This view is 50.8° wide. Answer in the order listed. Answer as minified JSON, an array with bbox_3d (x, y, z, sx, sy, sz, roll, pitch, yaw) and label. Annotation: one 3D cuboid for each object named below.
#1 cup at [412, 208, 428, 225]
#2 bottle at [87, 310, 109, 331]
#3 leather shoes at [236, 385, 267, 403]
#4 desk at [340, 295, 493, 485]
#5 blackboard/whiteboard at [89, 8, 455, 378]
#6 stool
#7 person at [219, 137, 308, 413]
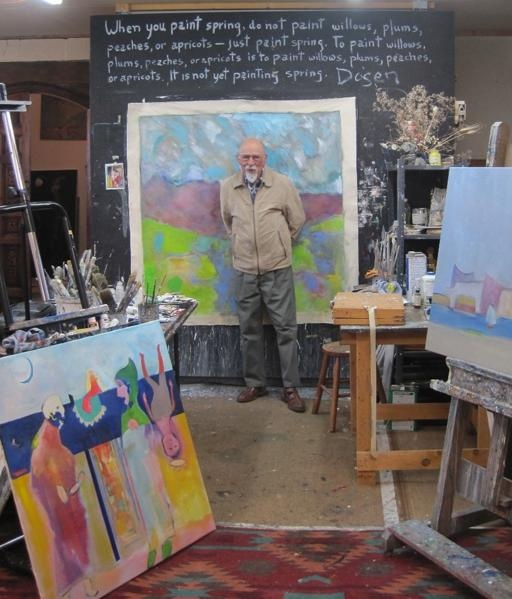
[{"bbox_3d":[1.091,-0.558,3.583,0.114,0.124,0.116,-2,11,0],"label":"cup"},{"bbox_3d":[-0.592,0.079,2.002,0.067,0.075,0.068,1,9,15],"label":"bottle"},{"bbox_3d":[-0.036,0.701,3.999,0.085,0.108,0.242,-4,-4,39],"label":"leather shoes"},{"bbox_3d":[0.893,0.526,2.992,1.047,0.827,1.171,2,-8,1],"label":"desk"},{"bbox_3d":[0.157,-0.874,3.692,2.815,2.810,0.034,-1,6,3],"label":"blackboard/whiteboard"},{"bbox_3d":[0.561,0.546,3.580,0.396,0.410,0.391,1,1,-26],"label":"stool"},{"bbox_3d":[0.044,-0.091,3.863,0.586,1.681,0.235,1,6,20],"label":"person"}]
